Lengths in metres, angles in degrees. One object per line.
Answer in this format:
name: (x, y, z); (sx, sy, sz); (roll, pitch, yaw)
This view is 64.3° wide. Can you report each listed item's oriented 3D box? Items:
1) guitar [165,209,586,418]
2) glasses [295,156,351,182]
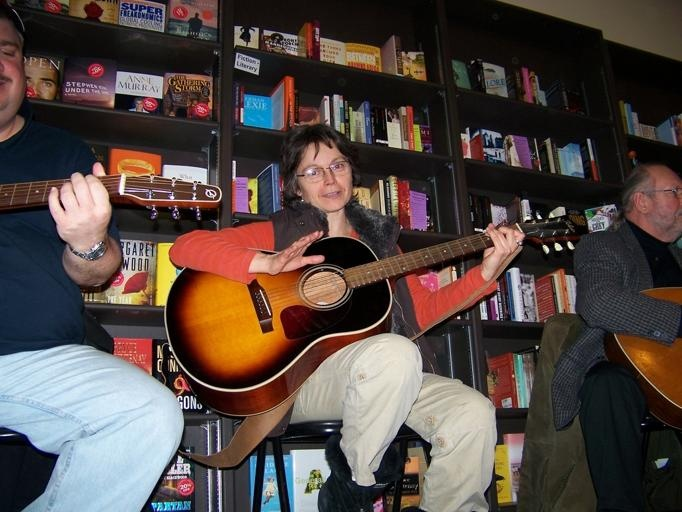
guitar: (0.000, 0.187, 2.139); (1.298, 0.507, 0.182); (-17, -25, -24)
glasses: (-0.078, -0.381, 2.439); (0.196, 0.097, 0.031); (-22, -27, -6)
